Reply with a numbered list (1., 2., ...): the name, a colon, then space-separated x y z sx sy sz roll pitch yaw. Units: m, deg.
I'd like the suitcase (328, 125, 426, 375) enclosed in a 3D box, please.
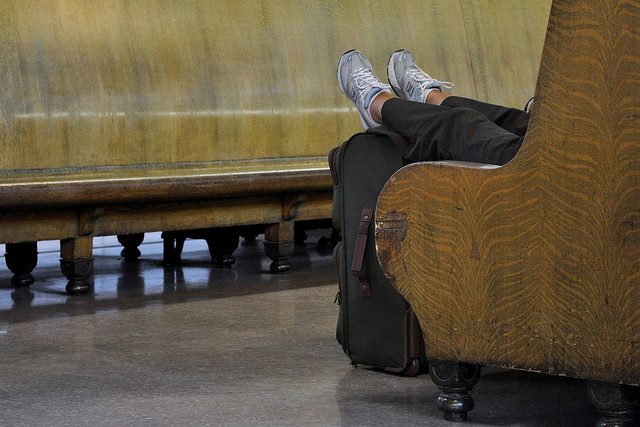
1. suitcase: 0.164 0.125 2.853 0.166 0.835 0.408 -6 10 -34
